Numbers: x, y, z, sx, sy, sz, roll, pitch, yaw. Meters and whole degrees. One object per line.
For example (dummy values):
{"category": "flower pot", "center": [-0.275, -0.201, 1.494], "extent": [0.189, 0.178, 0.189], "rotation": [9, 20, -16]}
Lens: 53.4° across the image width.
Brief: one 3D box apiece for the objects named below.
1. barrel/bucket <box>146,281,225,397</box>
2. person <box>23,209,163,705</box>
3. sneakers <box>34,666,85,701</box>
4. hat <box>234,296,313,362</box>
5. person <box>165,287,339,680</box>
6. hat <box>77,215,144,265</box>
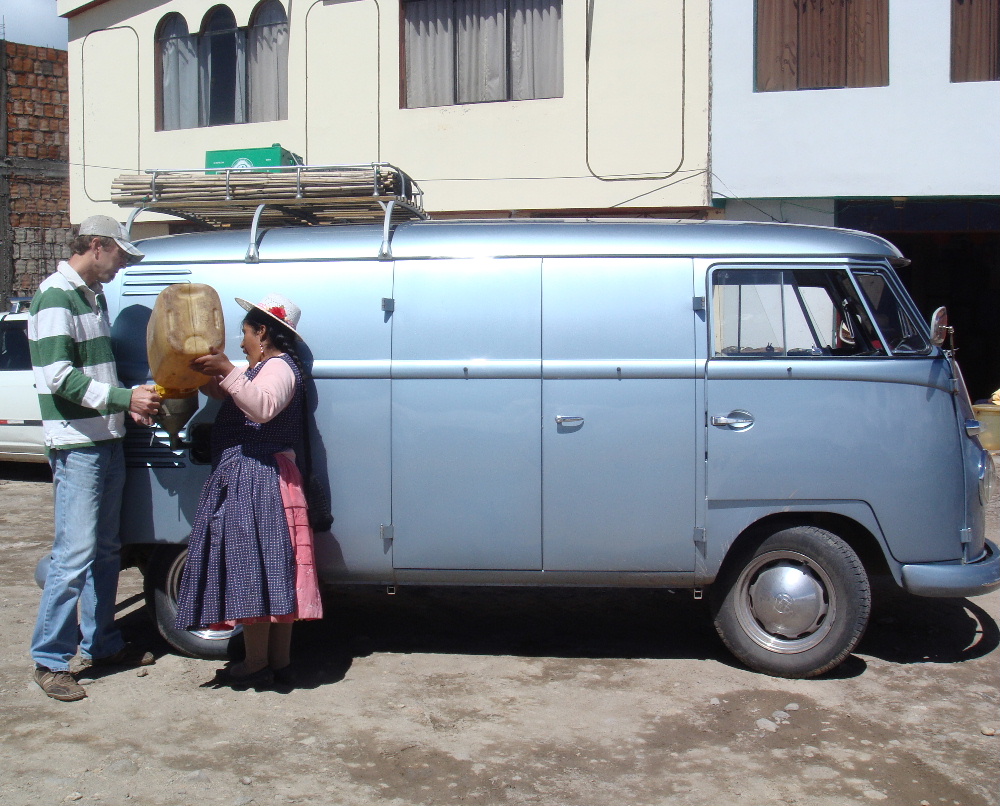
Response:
{"category": "barrel/bucket", "center": [-1.758, -0.344, 5.550], "extent": [0.306, 0.637, 0.450], "rotation": [-6, 9, -39]}
{"category": "person", "center": [-2.453, 0.293, 5.930], "extent": [0.696, 2.784, 0.701], "rotation": [-2, 7, -18]}
{"category": "sneakers", "center": [-2.616, 1.623, 5.818], "extent": [0.369, 0.159, 0.131], "rotation": [6, 7, 11]}
{"category": "hat", "center": [-1.312, -0.407, 5.865], "extent": [0.355, 0.115, 0.390], "rotation": [17, -17, 48]}
{"category": "person", "center": [-1.448, 0.560, 5.839], "extent": [0.899, 2.288, 0.625], "rotation": [-2, 7, -16]}
{"category": "hat", "center": [-2.322, -0.968, 5.937], "extent": [0.342, 0.188, 0.221], "rotation": [11, 1, -33]}
